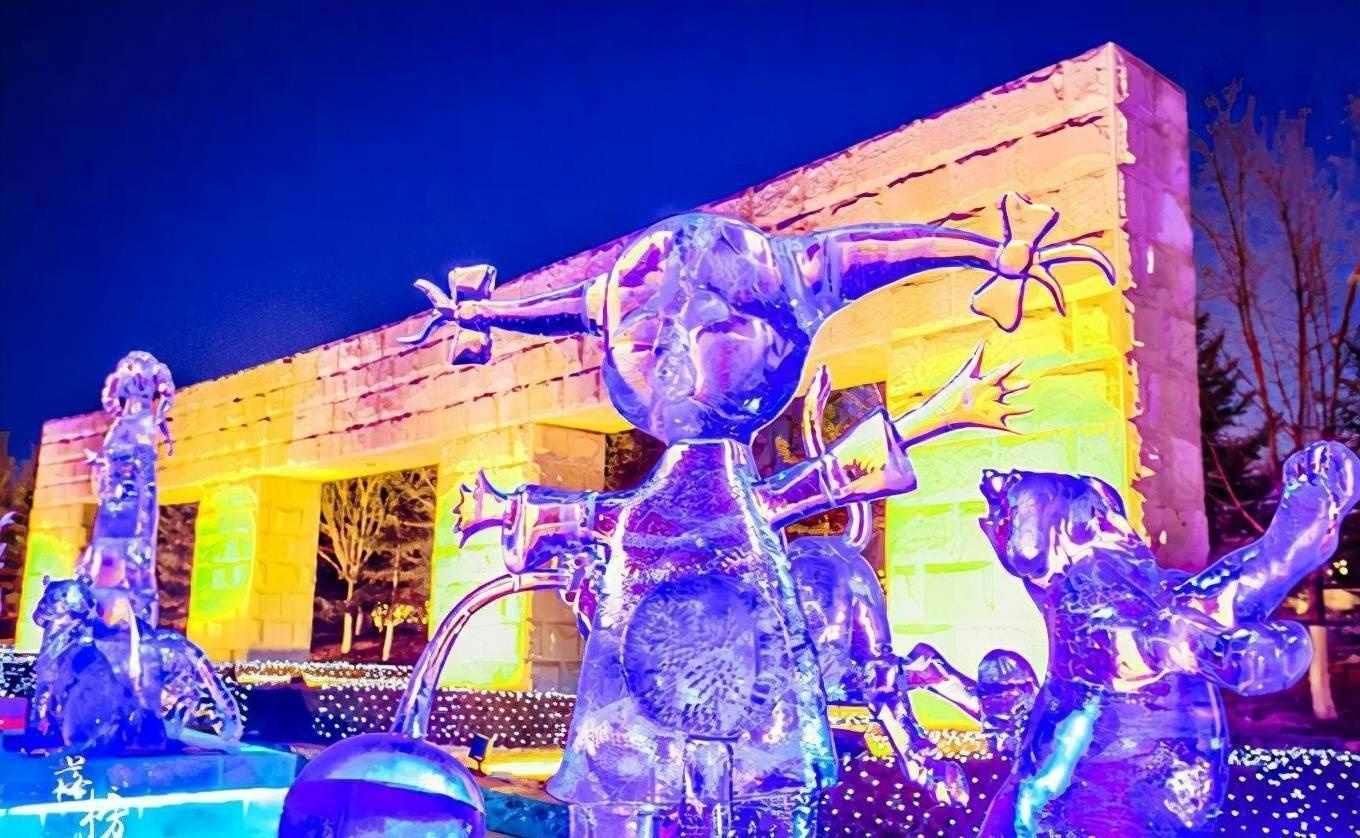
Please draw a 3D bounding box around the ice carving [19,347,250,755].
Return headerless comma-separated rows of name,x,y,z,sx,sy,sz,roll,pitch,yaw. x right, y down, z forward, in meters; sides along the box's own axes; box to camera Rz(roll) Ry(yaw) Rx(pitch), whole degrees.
ice carving,-2.462,0.593,5.951,0.876,1.897,0.675,6,-19,-18
